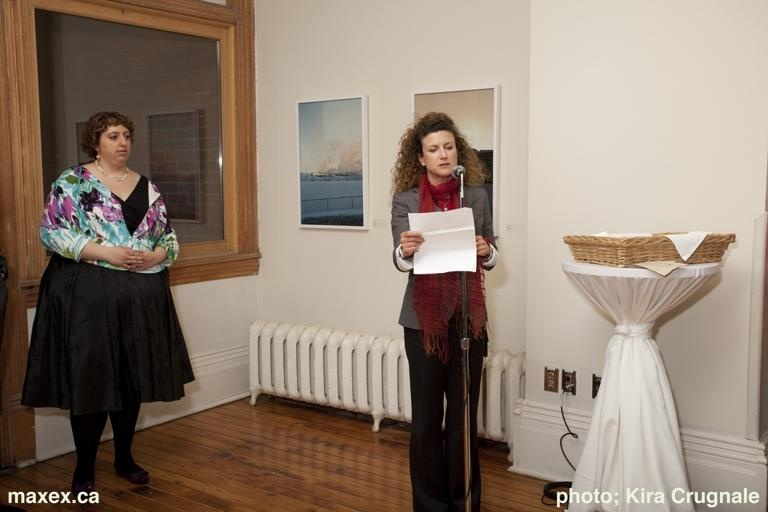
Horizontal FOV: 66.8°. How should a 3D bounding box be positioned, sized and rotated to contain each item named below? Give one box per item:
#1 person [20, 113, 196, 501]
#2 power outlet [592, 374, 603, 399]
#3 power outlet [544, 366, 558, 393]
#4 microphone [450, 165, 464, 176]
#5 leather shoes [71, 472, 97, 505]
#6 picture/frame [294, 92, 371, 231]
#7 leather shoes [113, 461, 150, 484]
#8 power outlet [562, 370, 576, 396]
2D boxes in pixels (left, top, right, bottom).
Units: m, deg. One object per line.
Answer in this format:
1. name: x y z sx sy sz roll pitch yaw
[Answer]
1. person: -1.814 0.050 3.781 0.996 1.913 0.534 -4 11 -21
2. power outlet: 1.306 0.837 3.597 0.048 0.154 0.169 3 12 18
3. power outlet: 1.084 0.805 3.778 0.093 0.159 0.029 3 10 17
4. microphone: 0.370 -0.436 2.928 0.043 0.052 0.051 -7 24 10
5. leather shoes: -1.878 1.471 3.658 0.133 0.105 0.176 -7 13 -30
6. picture/frame: -0.414 -0.750 4.724 0.693 1.034 0.136 6 12 30
7. leather shoes: -1.667 1.423 3.856 0.211 0.090 0.112 5 4 29
8. power outlet: 1.178 0.812 3.722 0.085 0.151 0.049 3 11 20
